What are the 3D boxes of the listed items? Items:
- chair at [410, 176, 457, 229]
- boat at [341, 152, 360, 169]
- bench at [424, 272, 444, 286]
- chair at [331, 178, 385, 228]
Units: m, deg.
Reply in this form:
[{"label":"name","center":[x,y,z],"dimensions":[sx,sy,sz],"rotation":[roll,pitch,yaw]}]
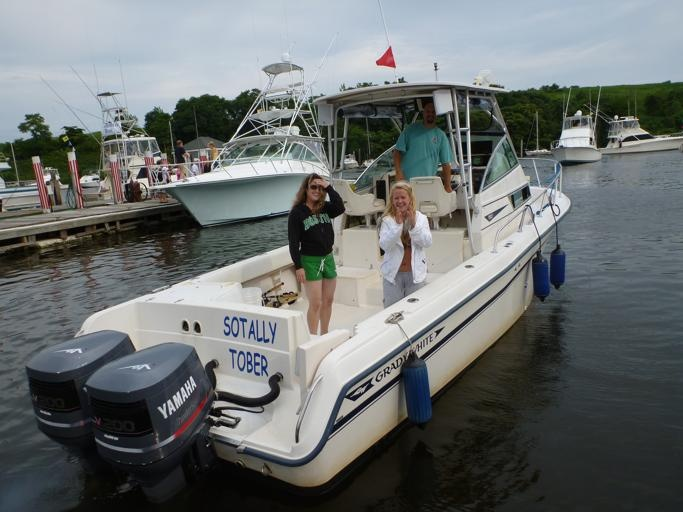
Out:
[{"label":"chair","center":[1.067,-0.592,5.814],"dimensions":[0.451,0.632,0.569],"rotation":[4,14,34]},{"label":"boat","center":[0.125,-1.260,6.752],"dimensions":[0.124,0.157,0.387],"rotation":[1,6,16]},{"label":"bench","center":[1.054,0.245,5.648],"dimensions":[0.148,0.039,0.161],"rotation":[3,17,31]},{"label":"chair","center":[0.234,-0.633,6.185],"dimensions":[0.562,0.603,0.421],"rotation":[-9,11,-22]}]
